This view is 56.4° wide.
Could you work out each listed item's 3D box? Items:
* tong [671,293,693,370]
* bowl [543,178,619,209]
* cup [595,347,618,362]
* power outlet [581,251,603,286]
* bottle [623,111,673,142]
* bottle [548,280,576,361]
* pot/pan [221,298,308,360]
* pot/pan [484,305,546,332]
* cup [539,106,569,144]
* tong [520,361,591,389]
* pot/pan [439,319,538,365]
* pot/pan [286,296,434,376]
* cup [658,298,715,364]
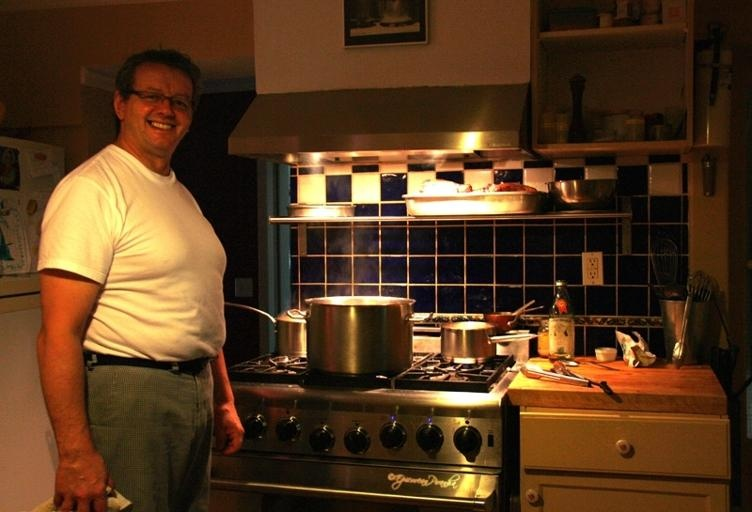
[{"bbox_3d":[1.269,0.330,2.905,0.069,0.345,0.048,9,-4,-27],"label":"tong"},{"bbox_3d":[0.883,-0.264,3.005,0.269,0.131,0.111,1,11,12],"label":"bowl"},{"bbox_3d":[0.997,0.424,3.059,0.067,0.035,0.066,-6,6,1],"label":"cup"},{"bbox_3d":[0.993,0.058,3.201,0.097,0.152,0.016,-3,-2,37],"label":"power outlet"},{"bbox_3d":[1.170,-0.523,2.977,0.168,0.118,0.168,-2,9,0],"label":"bottle"},{"bbox_3d":[0.820,0.278,3.085,0.110,0.326,0.181,2,12,16],"label":"bottle"},{"bbox_3d":[-0.386,0.338,3.162,0.533,0.259,0.213,-1,-2,8],"label":"pot/pan"},{"bbox_3d":[0.616,0.268,3.179,0.211,0.090,0.127,-5,1,21],"label":"pot/pan"},{"bbox_3d":[0.744,-0.534,2.940,0.123,0.127,0.059,0,11,6],"label":"cup"},{"bbox_3d":[0.712,0.471,2.773,0.180,0.049,0.094,6,1,34],"label":"tong"},{"bbox_3d":[0.458,0.362,2.980,0.354,0.133,0.205,0,-2,13],"label":"pot/pan"},{"bbox_3d":[-0.082,0.327,2.828,0.387,0.202,0.317,1,-4,-23],"label":"pot/pan"},{"bbox_3d":[1.284,0.318,2.950,0.245,0.273,0.256,0,-5,0],"label":"cup"}]
